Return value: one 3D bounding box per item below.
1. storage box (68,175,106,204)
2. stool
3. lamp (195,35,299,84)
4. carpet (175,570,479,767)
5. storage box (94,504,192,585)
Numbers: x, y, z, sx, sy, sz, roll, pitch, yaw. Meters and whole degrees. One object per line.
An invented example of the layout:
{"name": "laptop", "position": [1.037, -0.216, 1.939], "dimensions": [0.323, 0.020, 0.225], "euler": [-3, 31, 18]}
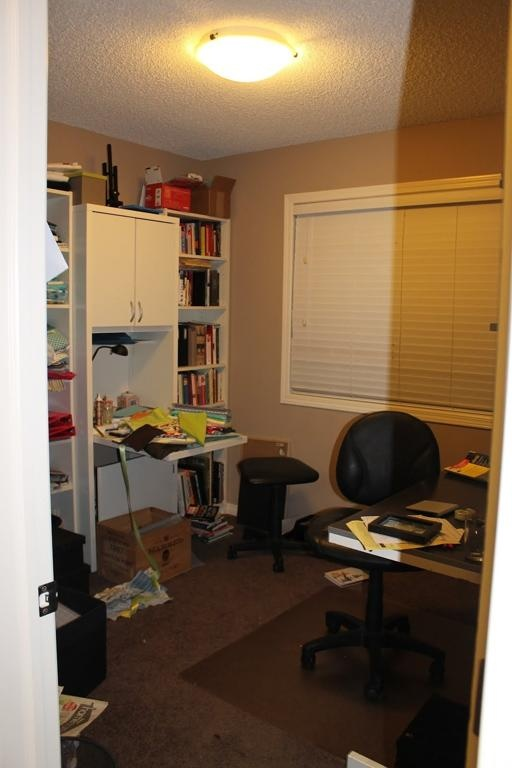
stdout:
{"name": "storage box", "position": [-0.905, -1.029, 3.122], "dimensions": [0.100, 0.133, 0.142], "euler": [14, 26, 25]}
{"name": "stool", "position": [0.063, 0.736, 3.541], "dimensions": [0.556, 0.616, 0.573], "euler": [1, 3, -6]}
{"name": "lamp", "position": [-0.040, -1.283, 2.327], "dimensions": [0.394, 0.081, 0.227], "euler": [1, 5, -2]}
{"name": "carpet", "position": [0.246, 1.052, 2.186], "dimensions": [0.815, 0.013, 0.917], "euler": [2, 6, 35]}
{"name": "storage box", "position": [-0.635, 0.842, 3.167], "dimensions": [0.358, 0.259, 0.365], "euler": [5, 10, 40]}
